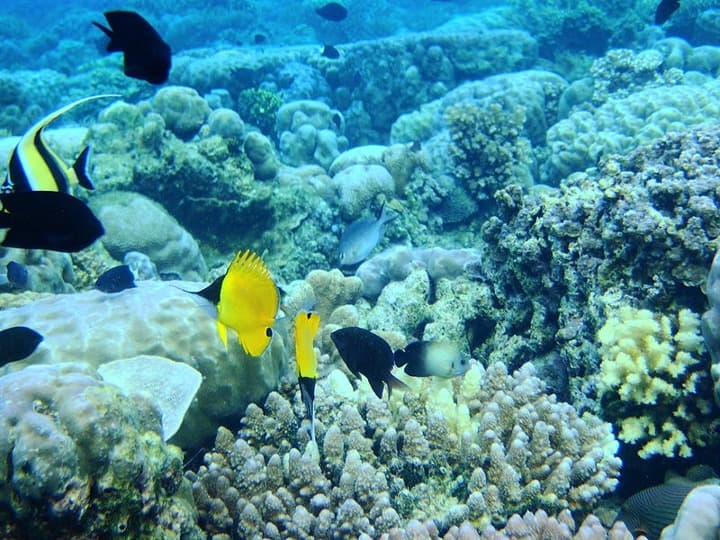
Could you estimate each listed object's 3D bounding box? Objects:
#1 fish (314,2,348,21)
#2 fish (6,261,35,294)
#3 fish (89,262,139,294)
[{"bbox_3d":[-0.789,-7.194,21.641,0.537,0.385,0.682,-6,10,-40],"label":"fish"},{"bbox_3d":[-5.407,0.124,12.327,0.293,0.460,0.113,3,-3,-15],"label":"fish"},{"bbox_3d":[-3.769,0.158,11.948,0.766,0.346,0.359,-8,13,12],"label":"fish"}]
